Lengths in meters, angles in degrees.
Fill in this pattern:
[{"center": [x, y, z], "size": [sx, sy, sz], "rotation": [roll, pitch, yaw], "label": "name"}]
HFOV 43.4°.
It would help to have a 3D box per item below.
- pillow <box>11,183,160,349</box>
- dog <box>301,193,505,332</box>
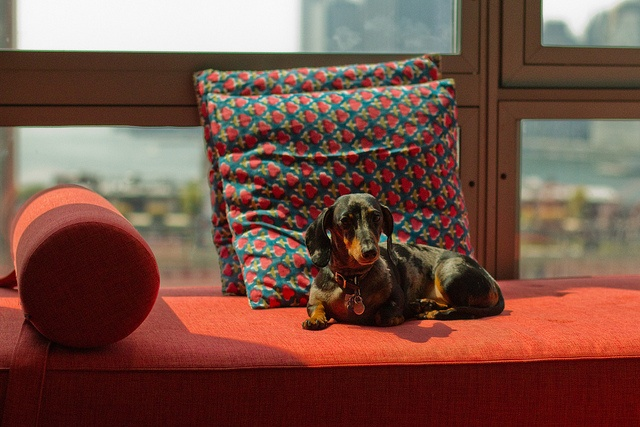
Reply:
[{"center": [-0.727, 0.172, 2.430], "size": [0.291, 0.291, 0.445], "rotation": [-31, 25, -19], "label": "pillow"}, {"center": [0.237, 0.194, 2.597], "size": [0.423, 0.339, 0.563], "rotation": [-11, -18, 29], "label": "dog"}]
